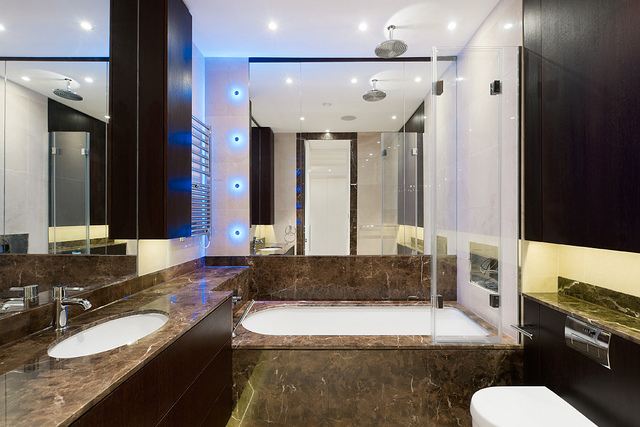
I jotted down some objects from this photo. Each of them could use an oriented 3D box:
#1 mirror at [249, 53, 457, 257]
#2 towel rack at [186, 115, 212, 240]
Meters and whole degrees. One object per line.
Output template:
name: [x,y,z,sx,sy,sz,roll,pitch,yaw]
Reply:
mirror: [0.385,-0.479,4.593,2.062,2.306,0.086,-1,10,-5]
towel rack: [-1.189,-0.319,4.239,0.217,1.222,0.632,-3,3,-7]
